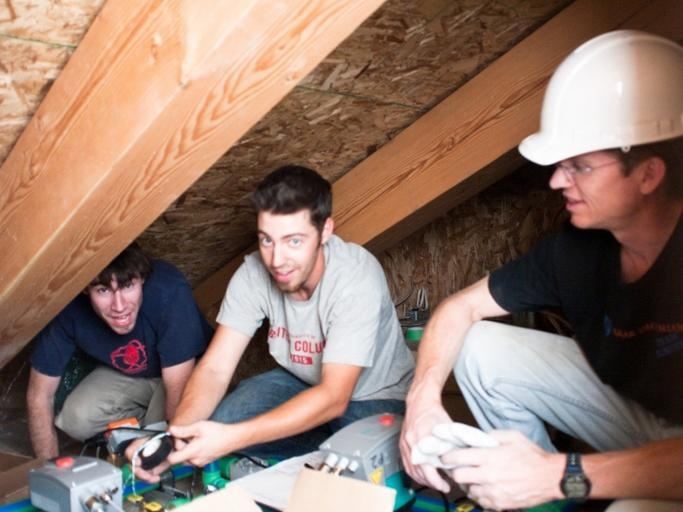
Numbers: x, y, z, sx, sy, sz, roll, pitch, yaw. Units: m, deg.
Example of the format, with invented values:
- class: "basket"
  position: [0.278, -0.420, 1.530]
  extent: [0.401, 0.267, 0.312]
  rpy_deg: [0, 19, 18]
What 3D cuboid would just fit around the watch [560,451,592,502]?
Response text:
- class: "watch"
  position: [0.545, 0.516, 1.213]
  extent: [0.074, 0.101, 0.099]
  rpy_deg: [-2, 15, 9]
